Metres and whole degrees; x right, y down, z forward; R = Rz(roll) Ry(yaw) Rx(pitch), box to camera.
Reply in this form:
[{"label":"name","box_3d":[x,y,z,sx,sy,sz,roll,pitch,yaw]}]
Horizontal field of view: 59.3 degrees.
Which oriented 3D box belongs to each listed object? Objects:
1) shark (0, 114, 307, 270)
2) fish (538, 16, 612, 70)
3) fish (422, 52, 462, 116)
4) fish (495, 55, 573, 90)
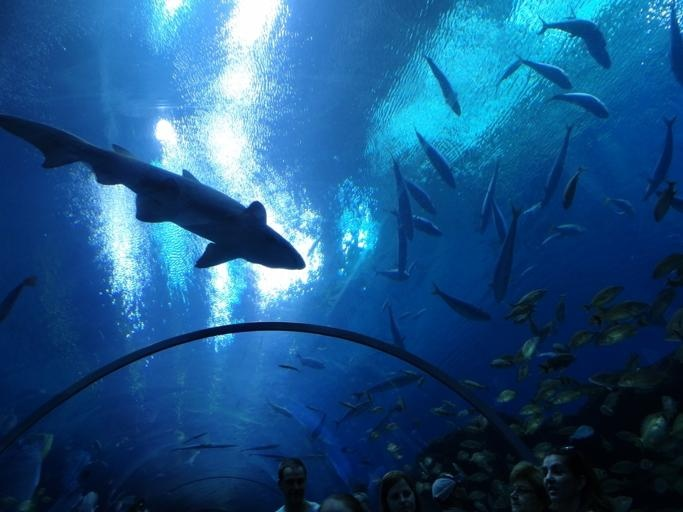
[{"label":"shark","box_3d":[-2.837,-0.889,8.404,3.547,0.925,0.844,26,-87,-7]},{"label":"fish","box_3d":[3.507,-3.239,8.854,1.142,0.514,0.466,16,-60,-24]},{"label":"fish","box_3d":[1.529,-2.675,9.190,0.168,0.167,0.959,-39,-83,2]},{"label":"fish","box_3d":[3.050,-2.849,9.075,1.472,0.311,0.571,-5,-43,-22]}]
